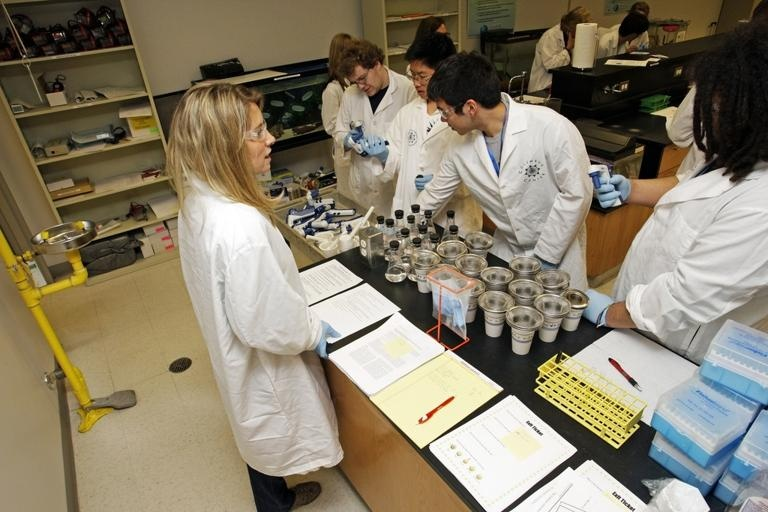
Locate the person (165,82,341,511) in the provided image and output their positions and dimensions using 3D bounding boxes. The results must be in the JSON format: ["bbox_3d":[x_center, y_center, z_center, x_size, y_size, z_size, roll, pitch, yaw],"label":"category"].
[{"bbox_3d":[-0.592,0.368,2.489,0.614,2.266,0.713,-18,33,-21],"label":"person"}]

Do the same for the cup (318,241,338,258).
[{"bbox_3d":[-0.343,-0.049,3.068,0.094,0.074,0.095,-13,35,9],"label":"cup"}]

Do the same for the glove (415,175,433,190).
[{"bbox_3d":[0.261,-0.488,3.235,0.083,0.113,0.112,-13,9,19],"label":"glove"}]

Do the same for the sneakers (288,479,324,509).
[{"bbox_3d":[-0.456,1.381,2.882,0.184,0.073,0.097,-24,70,-15],"label":"sneakers"}]

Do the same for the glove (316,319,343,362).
[{"bbox_3d":[-0.285,0.417,2.460,0.059,0.134,0.179,8,67,16],"label":"glove"}]

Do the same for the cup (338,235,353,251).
[{"bbox_3d":[-0.231,-0.097,3.064,0.070,0.090,0.091,-17,31,-26],"label":"cup"}]

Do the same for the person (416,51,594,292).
[{"bbox_3d":[0.722,-0.294,3.150,1.179,1.862,0.632,-2,35,18],"label":"person"}]

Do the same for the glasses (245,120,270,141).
[{"bbox_3d":[-0.586,-0.575,2.266,0.085,0.028,0.088,18,40,18],"label":"glasses"}]
